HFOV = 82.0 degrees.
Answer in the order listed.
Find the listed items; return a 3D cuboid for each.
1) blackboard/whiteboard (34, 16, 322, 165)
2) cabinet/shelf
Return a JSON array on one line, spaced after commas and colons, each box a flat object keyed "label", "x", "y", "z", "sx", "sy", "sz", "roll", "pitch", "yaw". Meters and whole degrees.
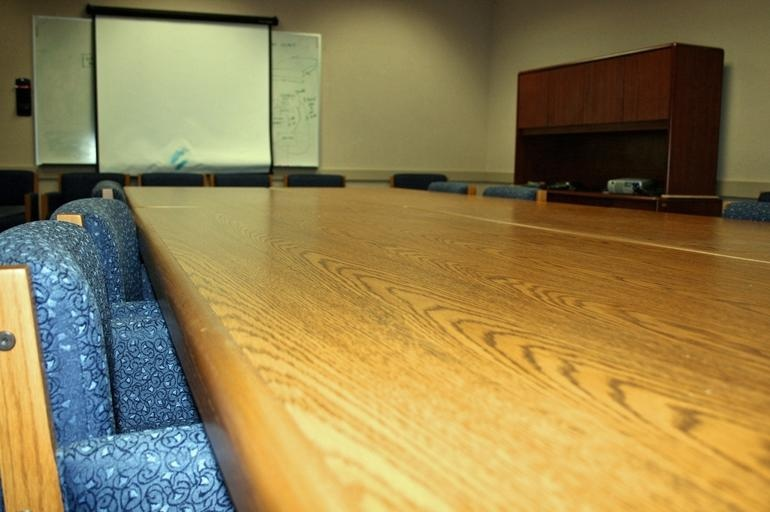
[{"label": "blackboard/whiteboard", "x": -2.800, "y": -2.189, "z": 5.694, "sx": 2.209, "sy": 1.322, "sz": 0.176, "roll": 0, "pitch": 2, "yaw": -20}, {"label": "cabinet/shelf", "x": 2.363, "y": -1.141, "z": 4.931, "sx": 0.802, "sy": 1.881, "sz": 2.169, "roll": -8, "pitch": 15, "yaw": -19}]
